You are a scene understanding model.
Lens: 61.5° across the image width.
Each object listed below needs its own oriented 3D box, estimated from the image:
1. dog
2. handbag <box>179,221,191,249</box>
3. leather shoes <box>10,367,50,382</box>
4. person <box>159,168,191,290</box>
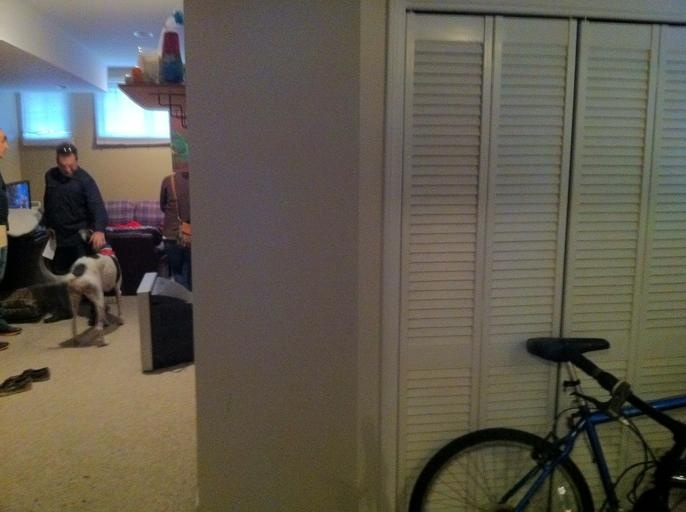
[{"bbox_3d":[-2.105,0.239,4.664,0.599,0.841,1.158,-1,3,-29],"label":"dog"},{"bbox_3d":[-1.100,-0.154,4.021,0.050,0.158,0.282,0,3,-20],"label":"handbag"},{"bbox_3d":[-2.032,0.778,3.774,0.236,0.084,0.078,1,3,-17],"label":"leather shoes"},{"bbox_3d":[-1.320,-0.187,4.605,0.306,0.988,0.738,1,9,-7],"label":"person"}]
